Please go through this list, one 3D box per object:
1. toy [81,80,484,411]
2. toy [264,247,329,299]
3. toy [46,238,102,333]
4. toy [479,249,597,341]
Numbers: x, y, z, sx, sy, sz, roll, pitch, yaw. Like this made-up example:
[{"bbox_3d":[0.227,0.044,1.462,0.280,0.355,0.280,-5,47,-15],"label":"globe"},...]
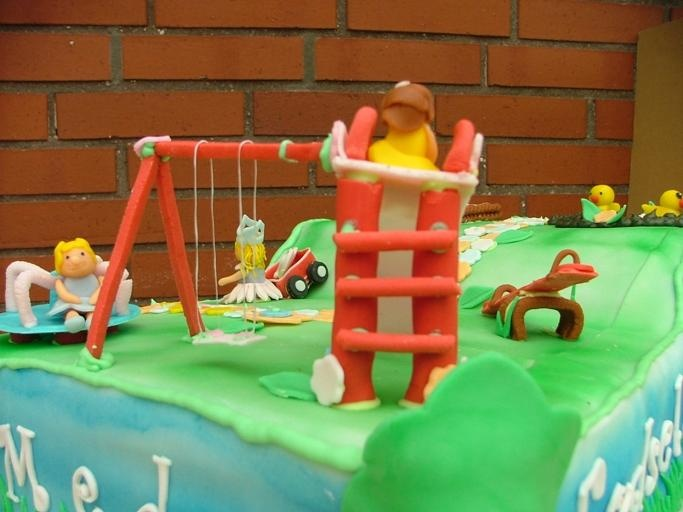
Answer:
[{"bbox_3d":[0.109,-0.107,1.868,0.769,0.720,1.451,1,1,28],"label":"toy"},{"bbox_3d":[-0.133,0.047,2.088,0.146,0.105,0.157,-31,16,-29],"label":"toy"},{"bbox_3d":[-0.592,0.054,1.611,0.167,0.227,0.189,-2,11,-24],"label":"toy"},{"bbox_3d":[0.458,0.085,1.699,0.244,0.201,0.271,0,1,11],"label":"toy"}]
